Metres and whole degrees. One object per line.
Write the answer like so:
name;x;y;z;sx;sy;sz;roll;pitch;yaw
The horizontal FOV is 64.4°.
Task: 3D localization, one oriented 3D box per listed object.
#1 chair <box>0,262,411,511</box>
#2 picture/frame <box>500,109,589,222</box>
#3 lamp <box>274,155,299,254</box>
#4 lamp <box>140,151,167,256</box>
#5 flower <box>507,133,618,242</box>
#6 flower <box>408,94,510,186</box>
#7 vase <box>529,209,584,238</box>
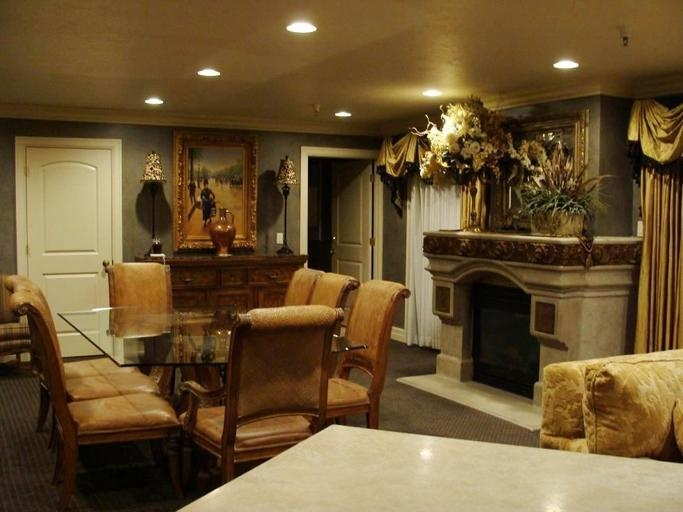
chair;-0.956;0.524;2.913;0.943;1.134;1.645;0;4;-38
picture/frame;1.783;-0.813;4.711;0.089;1.272;1.064;4;-3;-23
lamp;-0.679;-0.624;6.656;0.250;1.238;0.396;0;0;-5
lamp;-2.093;-0.567;6.016;0.260;1.244;0.462;0;0;-20
flower;1.765;-0.545;4.575;0.543;0.646;0.653;0;21;8
flower;1.297;-1.063;5.271;0.738;0.808;0.742;-12;5;-23
vase;1.776;-0.261;4.408;0.221;0.185;0.301;-2;4;-27
